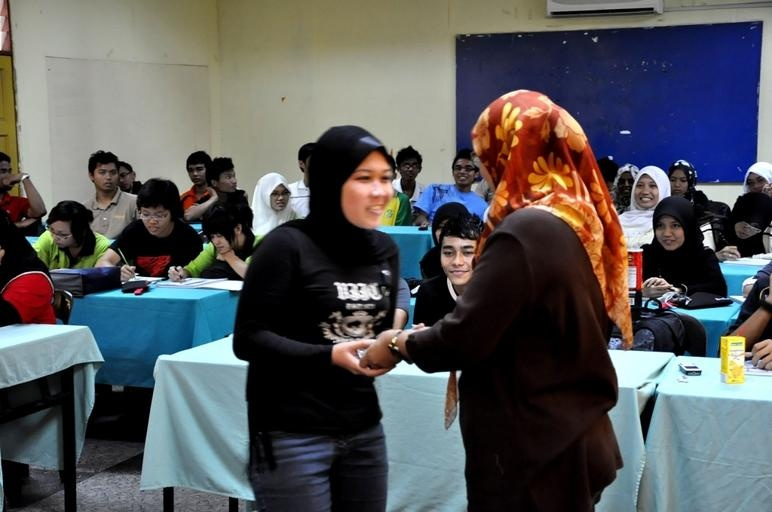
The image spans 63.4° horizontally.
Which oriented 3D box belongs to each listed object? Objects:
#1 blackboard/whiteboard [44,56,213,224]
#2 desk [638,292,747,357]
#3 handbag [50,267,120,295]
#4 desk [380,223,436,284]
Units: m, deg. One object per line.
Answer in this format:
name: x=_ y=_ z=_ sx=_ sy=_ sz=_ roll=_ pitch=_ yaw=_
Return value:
blackboard/whiteboard: x=-3.156 y=-1.407 z=7.420 sx=2.570 sy=2.005 sz=0.106 roll=-5 pitch=12 yaw=-29
desk: x=1.785 y=0.341 z=3.411 sx=0.418 sy=0.196 sz=0.417 roll=2 pitch=5 yaw=19
handbag: x=-1.846 y=0.157 z=3.856 sx=0.240 sy=0.077 sz=0.240 roll=2 pitch=4 yaw=37
desk: x=0.213 y=-0.049 z=5.595 sx=0.453 sy=0.323 sz=0.448 roll=1 pitch=3 yaw=9
